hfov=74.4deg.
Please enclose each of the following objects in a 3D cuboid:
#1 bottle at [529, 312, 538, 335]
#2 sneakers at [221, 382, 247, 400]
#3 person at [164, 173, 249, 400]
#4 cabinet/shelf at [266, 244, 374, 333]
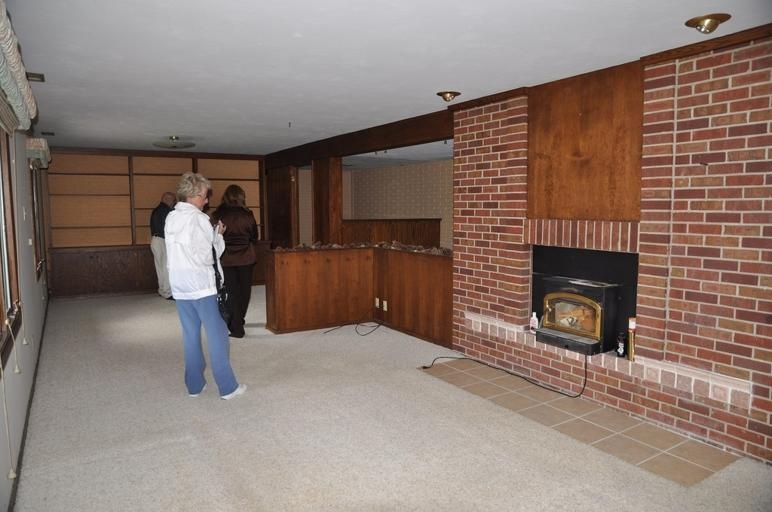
[{"bbox_3d":[1.573,0.704,5.415,0.094,0.196,0.167,4,15,14],"label":"bottle"},{"bbox_3d":[-1.488,1.323,4.977,0.088,0.091,0.225,14,22,40],"label":"sneakers"},{"bbox_3d":[-1.762,0.315,4.905,0.578,2.160,0.719,-7,17,-22],"label":"person"},{"bbox_3d":[-0.982,0.440,7.362,1.602,1.107,0.505,-2,7,-39],"label":"cabinet/shelf"}]
